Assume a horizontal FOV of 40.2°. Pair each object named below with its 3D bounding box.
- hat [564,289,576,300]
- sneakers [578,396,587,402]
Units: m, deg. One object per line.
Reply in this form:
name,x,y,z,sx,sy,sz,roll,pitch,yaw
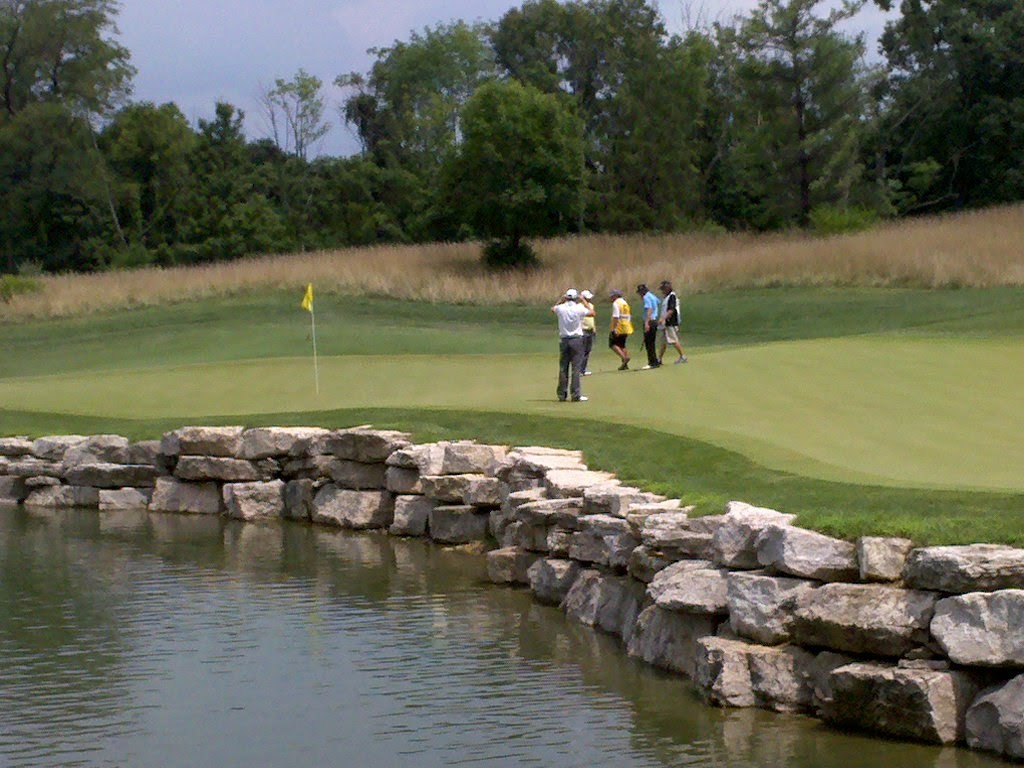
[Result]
hat,1.088,-1.771,27.906,0.227,0.210,0.186,9,6,19
sneakers,1.345,0.288,27.532,0.187,0.067,0.413,-2,13,1
